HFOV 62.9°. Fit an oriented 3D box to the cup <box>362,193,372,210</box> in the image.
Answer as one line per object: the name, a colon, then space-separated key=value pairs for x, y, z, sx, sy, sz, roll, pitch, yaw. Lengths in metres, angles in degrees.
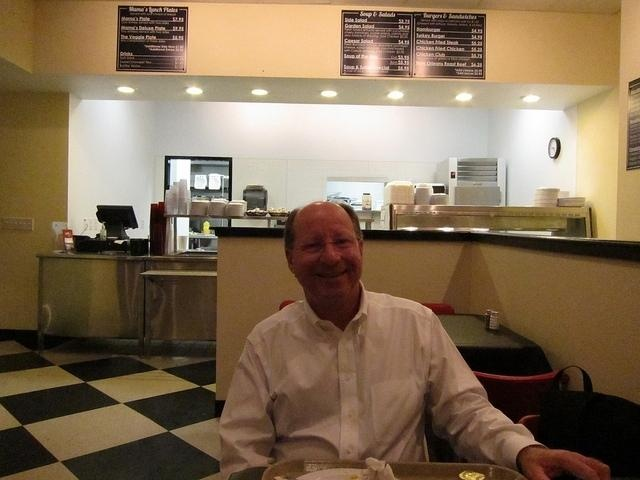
cup: x=0.675 y=-0.554 z=7.575 sx=0.186 sy=0.334 sz=0.175 roll=0 pitch=2 yaw=0

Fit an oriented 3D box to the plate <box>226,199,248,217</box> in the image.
plate: x=-0.891 y=-0.351 z=5.581 sx=0.147 sy=0.138 sz=0.202 roll=0 pitch=3 yaw=-3

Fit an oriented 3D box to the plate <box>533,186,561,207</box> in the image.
plate: x=2.438 y=-0.458 z=5.618 sx=0.202 sy=0.193 sz=0.212 roll=1 pitch=1 yaw=0

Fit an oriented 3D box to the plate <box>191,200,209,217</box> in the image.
plate: x=-1.255 y=-0.331 z=5.457 sx=0.160 sy=0.135 sz=0.152 roll=-1 pitch=8 yaw=-5

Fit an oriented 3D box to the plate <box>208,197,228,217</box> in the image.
plate: x=-1.074 y=-0.348 z=5.501 sx=0.170 sy=0.177 sz=0.177 roll=3 pitch=6 yaw=-3
